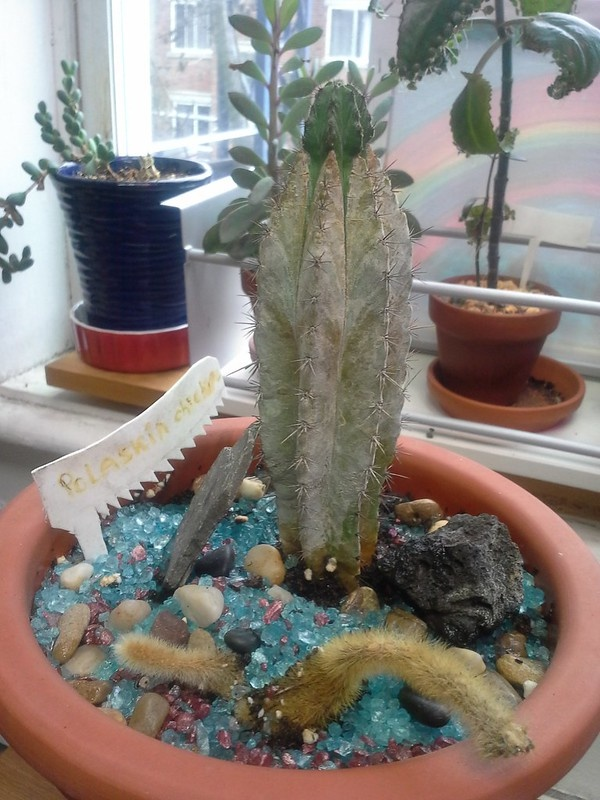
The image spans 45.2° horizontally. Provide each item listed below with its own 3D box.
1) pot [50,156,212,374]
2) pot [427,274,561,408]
[{"bbox_3d":[-0.284,-0.173,1.163,0.192,0.196,0.175,-3,24,1],"label":"pot"},{"bbox_3d":[0.254,-0.091,1.105,0.204,0.130,0.178,0,28,-9],"label":"pot"}]
